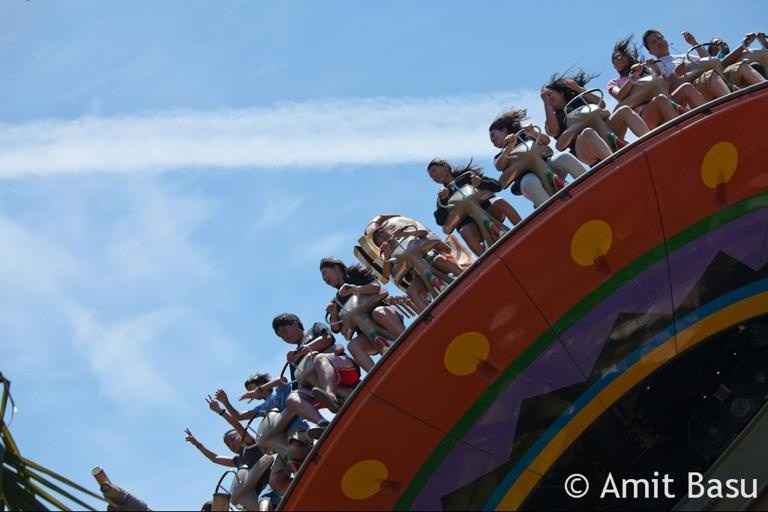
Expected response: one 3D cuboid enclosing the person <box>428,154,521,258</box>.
[{"bbox_3d":[1.881,-0.821,22.860,0.807,1.031,1.713,-46,26,-5],"label":"person"}]
